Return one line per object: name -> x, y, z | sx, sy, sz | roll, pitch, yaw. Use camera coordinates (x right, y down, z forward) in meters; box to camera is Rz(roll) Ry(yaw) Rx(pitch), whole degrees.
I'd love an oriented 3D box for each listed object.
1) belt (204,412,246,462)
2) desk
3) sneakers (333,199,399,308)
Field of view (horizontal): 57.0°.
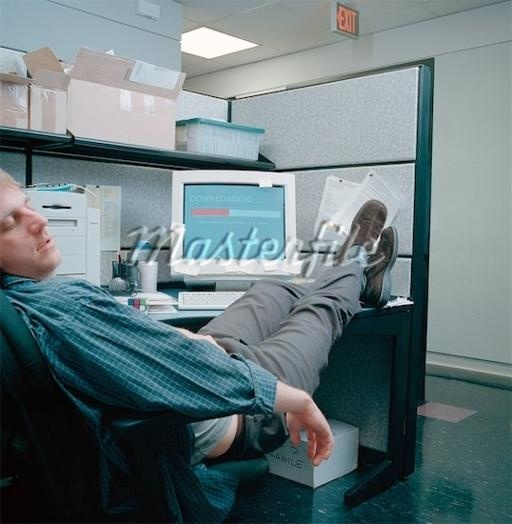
belt -> -0.052, 0.342, 0.911 | 0.041, 0.092, 0.069 | 39, -10, -3
desk -> 0.043, 0.299, 1.049 | 0.654, 0.364, 0.365 | -13, -25, 35
sneakers -> 0.385, -0.038, 1.527 | 0.142, 0.369, 0.161 | -3, -29, 34
